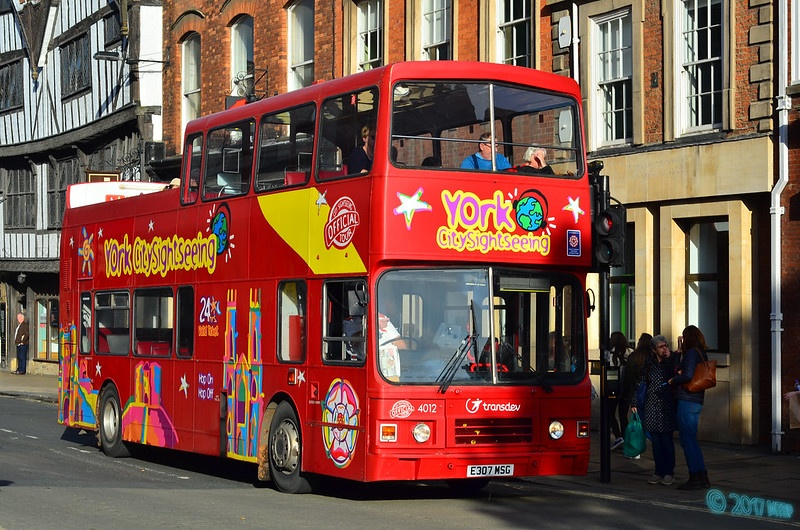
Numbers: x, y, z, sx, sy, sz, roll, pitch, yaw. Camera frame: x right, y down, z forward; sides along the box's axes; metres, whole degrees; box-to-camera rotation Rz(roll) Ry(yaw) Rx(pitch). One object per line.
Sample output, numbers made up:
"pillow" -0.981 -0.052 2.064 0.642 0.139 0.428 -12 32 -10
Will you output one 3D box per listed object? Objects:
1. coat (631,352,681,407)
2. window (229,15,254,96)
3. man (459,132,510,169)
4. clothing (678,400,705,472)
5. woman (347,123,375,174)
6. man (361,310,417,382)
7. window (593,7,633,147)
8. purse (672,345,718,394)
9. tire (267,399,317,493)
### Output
"coat" 4.288 1.916 19.963 0.342 0.978 0.689 12 3 -38
"window" -4.649 -6.142 35.798 0.879 2.608 0.187 -4 -8 24
"man" 1.328 -1.748 18.426 0.901 0.644 0.423 -4 20 -24
"clothing" 4.714 2.805 19.483 0.402 1.315 0.385 7 -9 -36
"woman" -0.589 -1.741 18.196 0.270 0.714 0.515 -10 7 -37
"man" -0.154 1.241 17.732 0.268 0.842 0.595 -8 -21 10
"window" 4.643 -4.073 26.302 0.944 2.839 0.718 -2 7 31
"purse" 4.744 1.743 19.430 0.675 0.721 0.323 -4 6 13
"tire" -1.669 2.886 18.945 0.496 1.725 1.361 5 -1 -33
